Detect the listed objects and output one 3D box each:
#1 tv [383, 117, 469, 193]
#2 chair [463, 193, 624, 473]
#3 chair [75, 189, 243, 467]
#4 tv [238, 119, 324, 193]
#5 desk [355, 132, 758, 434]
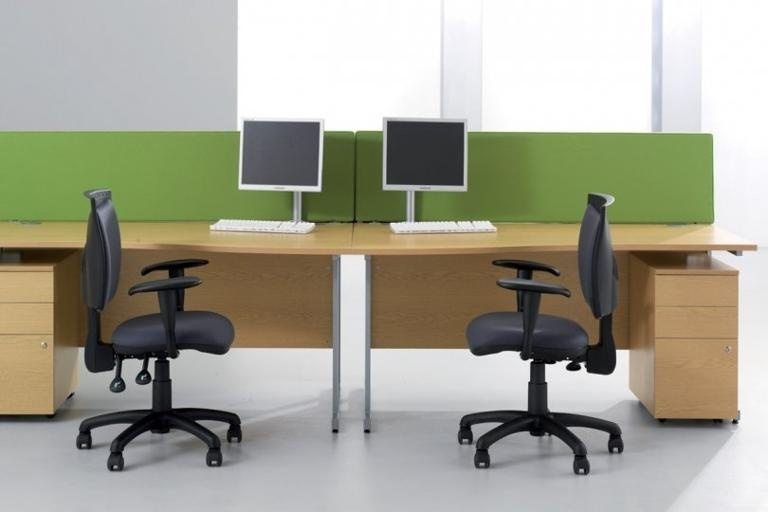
[{"bbox_3d":[0.293,-0.720,5.147,0.610,0.507,0.035,0,2,-7],"label":"tv"},{"bbox_3d":[0.941,0.448,4.569,1.039,1.578,1.110,1,3,28],"label":"chair"},{"bbox_3d":[-1.429,0.427,4.440,1.010,1.686,0.567,-4,6,-13],"label":"chair"},{"bbox_3d":[-0.736,-0.726,5.167,0.614,0.513,0.035,3,4,9],"label":"tv"},{"bbox_3d":[1.123,0.171,4.961,2.121,1.622,0.909,0,0,-1],"label":"desk"}]
